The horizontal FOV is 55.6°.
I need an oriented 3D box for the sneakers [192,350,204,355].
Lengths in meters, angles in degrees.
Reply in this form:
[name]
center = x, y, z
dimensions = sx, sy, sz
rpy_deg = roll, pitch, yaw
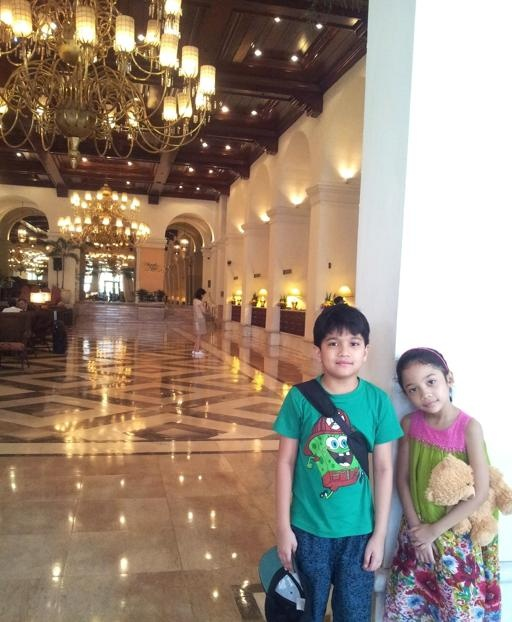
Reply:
[sneakers]
center = -1.320, 0.952, 11.049
dimensions = 0.296, 0.118, 0.102
rpy_deg = 0, 8, -12
